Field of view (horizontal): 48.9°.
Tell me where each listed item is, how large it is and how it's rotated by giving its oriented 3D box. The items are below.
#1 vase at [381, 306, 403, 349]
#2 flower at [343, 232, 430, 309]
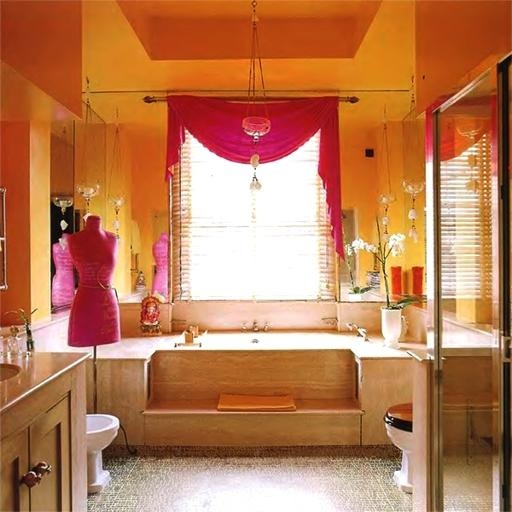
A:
[{"bbox_3d":[0.905,0.474,3.766,0.126,0.262,0.144,1,-1,-9],"label":"vase"},{"bbox_3d":[0.967,0.136,4.294,0.404,0.590,0.399,1,17,43],"label":"flower"}]
